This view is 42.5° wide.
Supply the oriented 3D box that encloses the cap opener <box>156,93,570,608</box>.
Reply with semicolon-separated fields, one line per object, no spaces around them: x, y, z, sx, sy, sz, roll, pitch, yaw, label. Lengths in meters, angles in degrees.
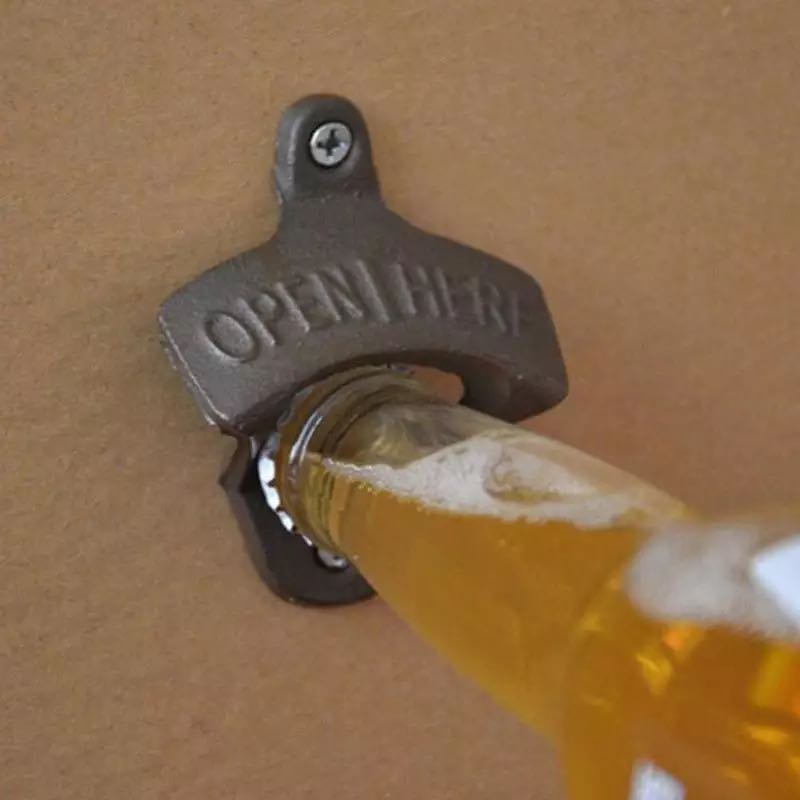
-0.017;-0.013;0.354;0.152;0.039;0.151;-15;99;-17;cap opener
